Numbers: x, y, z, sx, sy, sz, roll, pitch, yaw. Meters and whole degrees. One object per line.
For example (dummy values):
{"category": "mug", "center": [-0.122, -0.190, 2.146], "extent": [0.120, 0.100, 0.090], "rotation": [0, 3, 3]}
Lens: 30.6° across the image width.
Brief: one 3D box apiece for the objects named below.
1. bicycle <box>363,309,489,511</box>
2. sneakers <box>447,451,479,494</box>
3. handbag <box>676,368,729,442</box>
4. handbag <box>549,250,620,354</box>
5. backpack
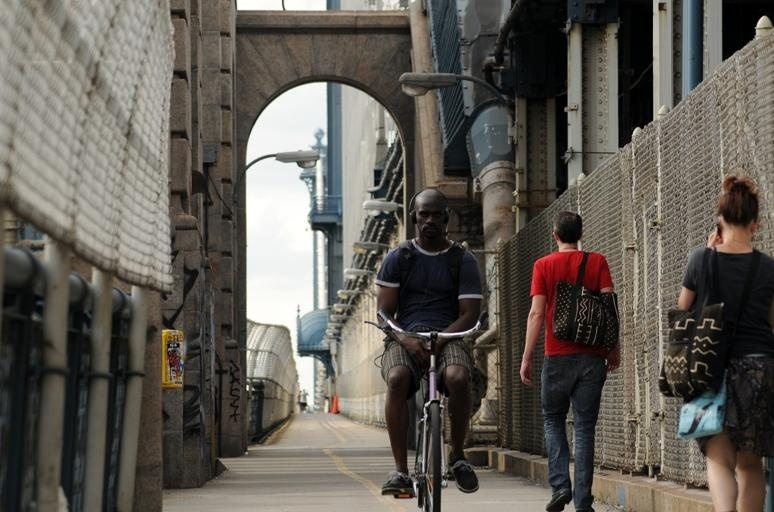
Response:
{"category": "bicycle", "center": [0.320, 1.224, 11.146], "extent": [0.880, 1.552, 0.786], "rotation": [-6, -11, 42]}
{"category": "sneakers", "center": [0.580, 1.692, 11.024], "extent": [0.137, 0.163, 0.372], "rotation": [-10, 16, -18]}
{"category": "handbag", "center": [2.284, 1.056, 10.172], "extent": [0.130, 0.522, 0.362], "rotation": [28, -29, -26]}
{"category": "handbag", "center": [1.643, 0.416, 11.931], "extent": [0.530, 1.026, 0.271], "rotation": [11, -30, 1]}
{"category": "backpack", "center": [2.252, 0.687, 10.400], "extent": [0.302, 0.882, 0.680], "rotation": [12, -17, -31]}
